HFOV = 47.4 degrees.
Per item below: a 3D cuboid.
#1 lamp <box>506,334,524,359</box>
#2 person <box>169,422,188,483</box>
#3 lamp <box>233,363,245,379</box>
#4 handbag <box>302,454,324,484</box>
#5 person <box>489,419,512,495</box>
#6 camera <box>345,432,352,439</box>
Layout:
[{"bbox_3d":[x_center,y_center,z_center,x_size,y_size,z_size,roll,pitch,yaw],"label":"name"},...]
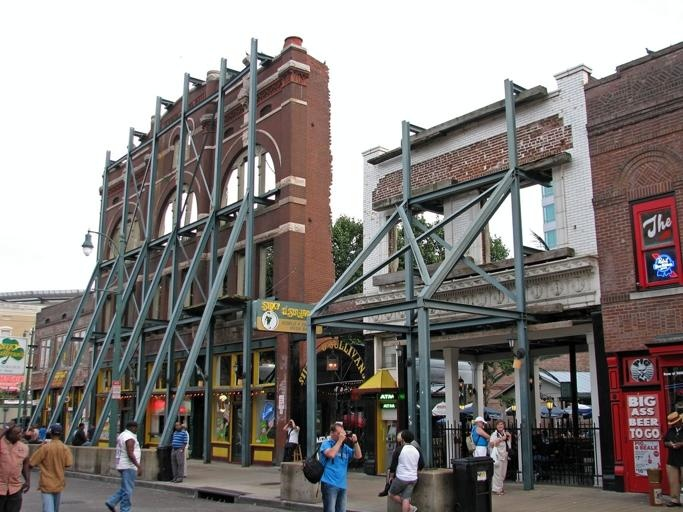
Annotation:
[{"bbox_3d":[4.983,2.578,22.148,0.393,0.839,1.037,-2,-20,7],"label":"lamp"},{"bbox_3d":[-5.252,6.272,25.125,0.459,1.962,1.053,5,-19,-12],"label":"person"},{"bbox_3d":[-4.444,4.896,33.430,0.365,0.636,1.035,2,-20,-3],"label":"lamp"},{"bbox_3d":[-0.568,4.317,15.963,0.412,0.509,0.258,1,-19,-1],"label":"handbag"},{"bbox_3d":[4.350,5.443,21.270,0.523,2.038,1.245,-3,-19,11],"label":"person"},{"bbox_3d":[0.147,3.824,16.672,0.137,0.112,0.134,8,-14,-32],"label":"camera"}]
